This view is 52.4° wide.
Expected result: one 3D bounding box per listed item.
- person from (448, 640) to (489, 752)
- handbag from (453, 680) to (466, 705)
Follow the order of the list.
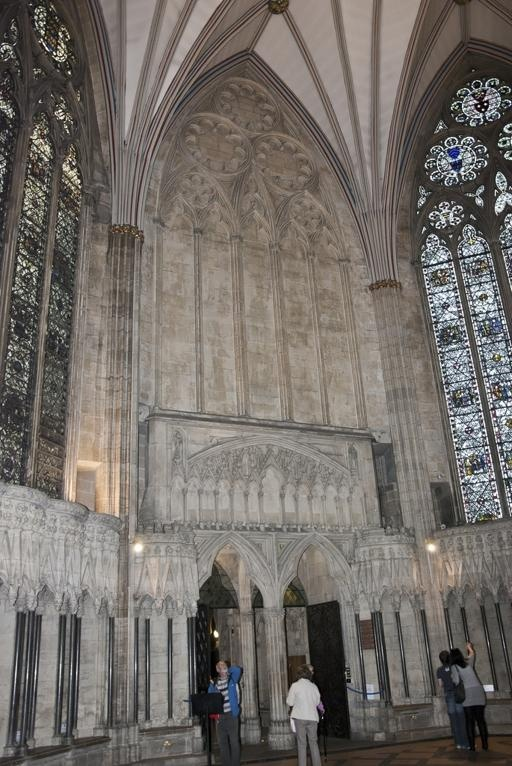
[{"bbox_3d":[2.561,3.795,6.196,0.348,1.197,1.006,-11,-22,16],"label":"person"},{"bbox_3d":[2.329,3.537,5.942,0.126,0.235,0.239,-11,-22,15],"label":"handbag"}]
